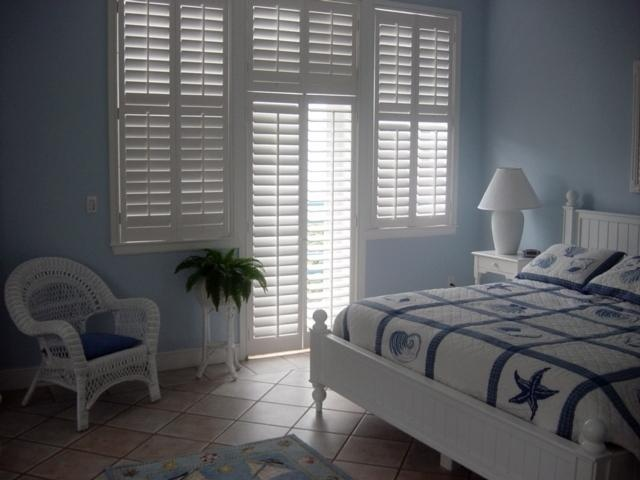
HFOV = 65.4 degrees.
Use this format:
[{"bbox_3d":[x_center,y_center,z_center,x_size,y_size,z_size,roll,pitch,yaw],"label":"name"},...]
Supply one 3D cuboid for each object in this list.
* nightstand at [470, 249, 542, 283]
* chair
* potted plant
[{"bbox_3d":[1.683,0.207,4.526,0.313,0.366,0.400,-6,13,-31],"label":"nightstand"},{"bbox_3d":[-1.673,0.658,3.527,0.765,1.047,0.724,3,9,32],"label":"chair"},{"bbox_3d":[-0.859,0.332,4.137,0.806,0.490,0.867,1,-11,3],"label":"potted plant"}]
